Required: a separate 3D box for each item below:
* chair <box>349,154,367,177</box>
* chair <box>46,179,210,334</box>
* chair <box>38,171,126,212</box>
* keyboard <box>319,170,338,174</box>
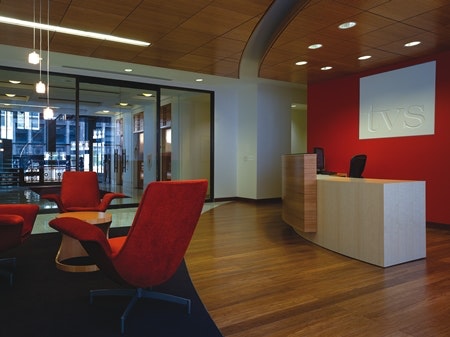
[{"bbox_3d":[2.707,-0.075,7.111,0.307,0.455,0.270,0,8,1],"label":"chair"},{"bbox_3d":[-0.850,0.777,3.440,1.202,1.371,0.697,2,8,16],"label":"chair"},{"bbox_3d":[-2.434,0.365,5.820,1.193,0.917,0.741,2,-8,-23],"label":"chair"},{"bbox_3d":[2.296,0.067,7.795,0.338,0.053,0.536,1,7,7],"label":"keyboard"}]
